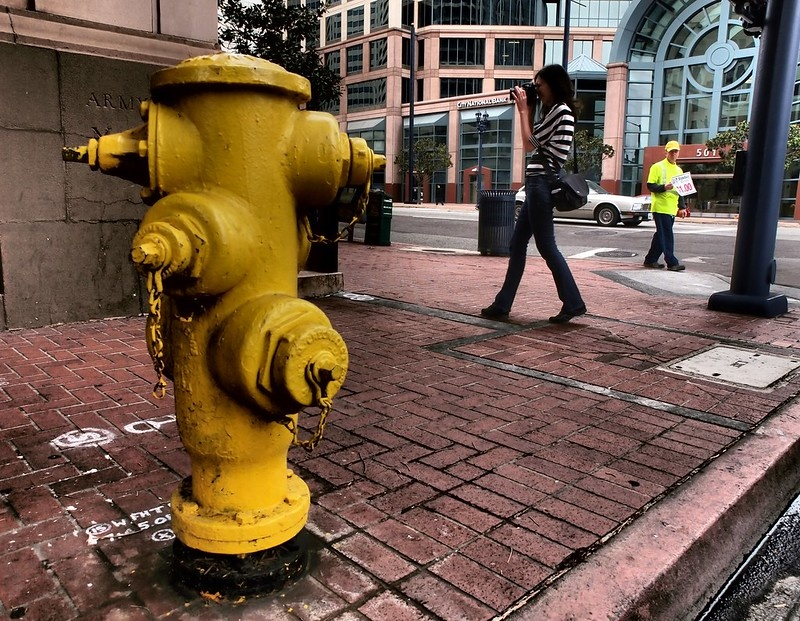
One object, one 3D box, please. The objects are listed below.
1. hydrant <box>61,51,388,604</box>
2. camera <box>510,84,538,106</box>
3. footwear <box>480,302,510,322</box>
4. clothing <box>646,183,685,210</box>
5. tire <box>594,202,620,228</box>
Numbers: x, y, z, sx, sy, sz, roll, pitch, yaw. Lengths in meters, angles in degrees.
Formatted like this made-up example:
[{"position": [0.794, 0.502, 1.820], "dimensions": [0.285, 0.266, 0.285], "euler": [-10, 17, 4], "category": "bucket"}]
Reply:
[{"position": [-0.627, 0.054, 2.440], "dimensions": [0.947, 2.031, 0.583], "euler": [1, 14, 0], "category": "hydrant"}, {"position": [1.271, -2.196, 6.308], "dimensions": [0.289, 0.256, 0.106], "euler": [-10, 22, -14], "category": "camera"}, {"position": [1.037, 0.011, 6.878], "dimensions": [0.311, 0.170, 0.156], "euler": [12, 11, 3], "category": "footwear"}, {"position": [4.544, -1.982, 10.800], "dimensions": [0.629, 0.545, 0.437], "euler": [4, 17, 7], "category": "clothing"}, {"position": [7.620, -3.583, 23.031], "dimensions": [0.949, 0.917, 0.351], "euler": [-9, 2, 39], "category": "tire"}]
